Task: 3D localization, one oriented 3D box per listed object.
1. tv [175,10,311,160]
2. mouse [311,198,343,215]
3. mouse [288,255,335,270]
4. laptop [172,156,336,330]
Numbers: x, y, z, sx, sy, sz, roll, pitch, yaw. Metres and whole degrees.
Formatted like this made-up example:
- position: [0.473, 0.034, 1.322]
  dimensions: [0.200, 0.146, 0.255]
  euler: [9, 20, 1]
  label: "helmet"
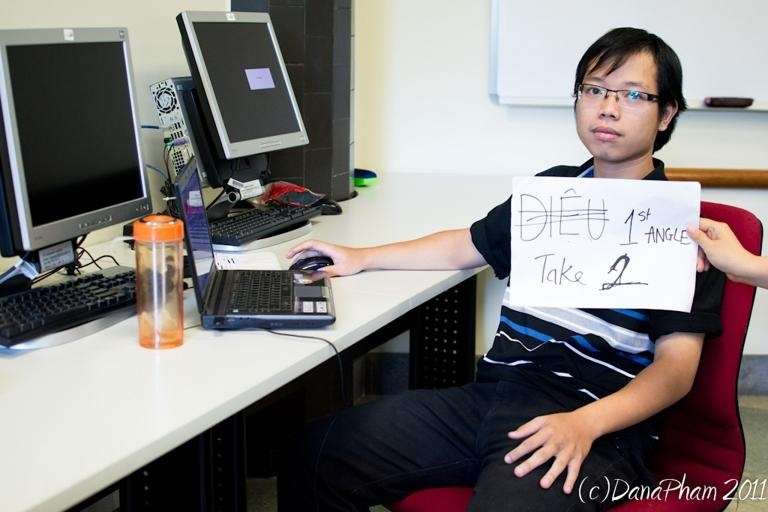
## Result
- position: [-0.480, -0.601, 2.074]
  dimensions: [0.200, 0.454, 0.508]
  euler: [9, 21, 20]
  label: "tv"
- position: [-0.208, -0.184, 2.214]
  dimensions: [0.087, 0.035, 0.055]
  euler: [3, 10, 16]
  label: "mouse"
- position: [-0.204, 0.020, 1.683]
  dimensions: [0.095, 0.029, 0.047]
  euler: [2, 6, -7]
  label: "mouse"
- position: [-0.299, -0.037, 1.501]
  dimensions: [0.380, 0.305, 0.460]
  euler: [3, 12, -6]
  label: "laptop"
